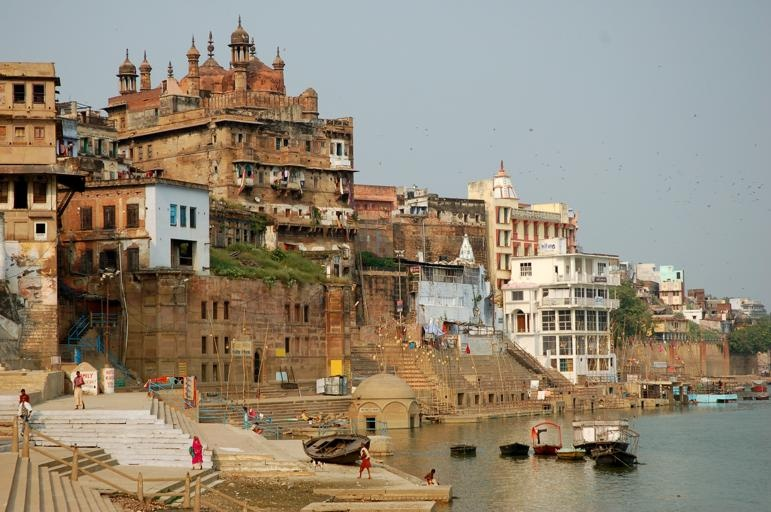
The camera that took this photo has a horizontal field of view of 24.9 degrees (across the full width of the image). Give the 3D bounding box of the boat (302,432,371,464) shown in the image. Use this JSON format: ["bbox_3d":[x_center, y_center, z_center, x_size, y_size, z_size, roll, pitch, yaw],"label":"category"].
[{"bbox_3d":[-3.301,12.625,113.487,2.987,1.203,2.118,-1,17,25],"label":"boat"}]

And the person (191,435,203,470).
[{"bbox_3d":[-11.196,11.742,103.114,0.716,1.903,1.399,0,-8,-7],"label":"person"}]
